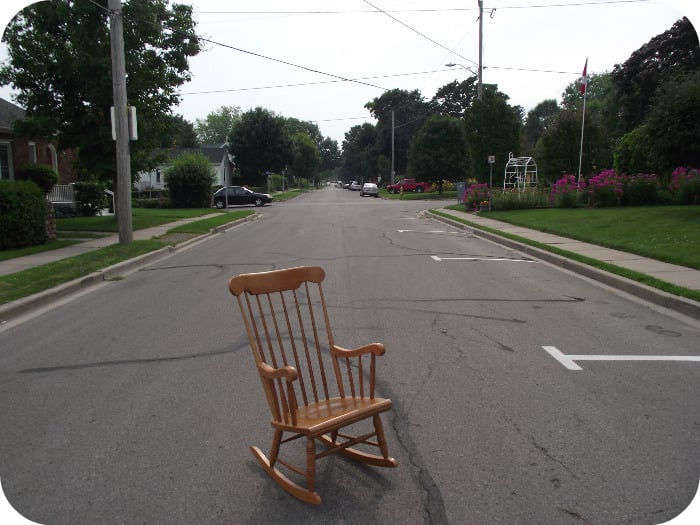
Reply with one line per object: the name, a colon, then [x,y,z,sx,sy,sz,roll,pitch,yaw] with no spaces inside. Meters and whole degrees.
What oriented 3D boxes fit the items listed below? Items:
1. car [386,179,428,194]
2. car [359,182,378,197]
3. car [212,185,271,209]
car: [6.762,-9.131,66.727,3.611,1.712,5.161,-12,17,-43]
car: [2.099,-8.131,62.657,1.174,1.206,2.282,1,18,-1]
car: [-8.025,-4.912,41.449,3.469,1.623,5.360,0,13,1]
